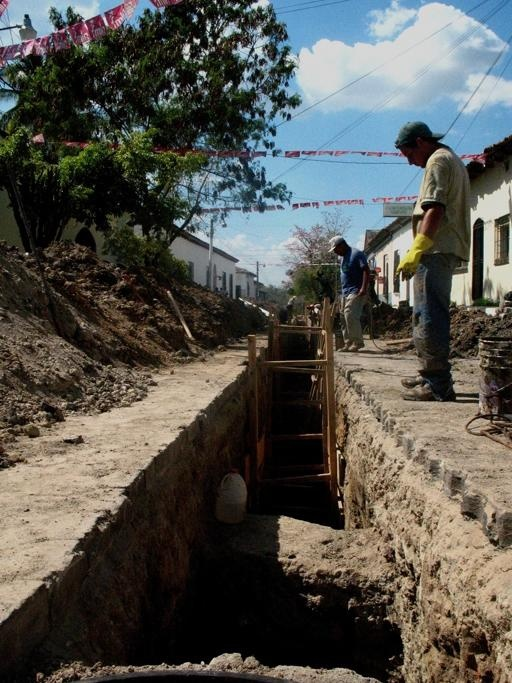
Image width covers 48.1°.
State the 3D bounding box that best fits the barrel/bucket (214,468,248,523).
[{"bbox_3d":[-0.167,1.101,4.018,0.305,0.469,0.286,2,-13,0],"label":"barrel/bucket"}]

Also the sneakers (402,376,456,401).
[{"bbox_3d":[1.180,0.352,3.946,0.272,0.128,0.190,8,9,16],"label":"sneakers"}]
